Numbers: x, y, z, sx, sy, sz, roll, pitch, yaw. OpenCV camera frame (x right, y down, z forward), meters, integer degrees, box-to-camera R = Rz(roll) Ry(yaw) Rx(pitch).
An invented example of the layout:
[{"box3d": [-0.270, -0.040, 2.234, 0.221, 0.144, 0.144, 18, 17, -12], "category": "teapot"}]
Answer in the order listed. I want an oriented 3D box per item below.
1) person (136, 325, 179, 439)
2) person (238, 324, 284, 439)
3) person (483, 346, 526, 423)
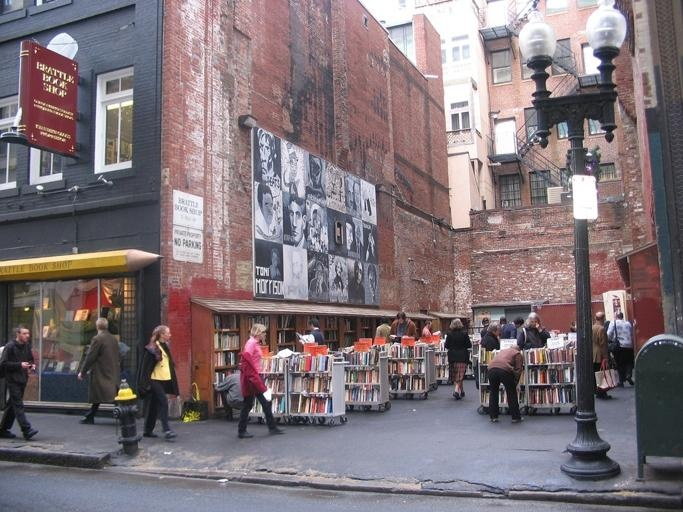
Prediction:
[{"box3d": [-4.240, 2.906, 16.085, 0.829, 2.585, 0.869, 0, -8, -14], "category": "person"}, {"box3d": [-2.009, 2.922, 16.507, 1.060, 2.541, 0.878, 1, -3, -15], "category": "person"}, {"box3d": [4.072, 3.102, 17.026, 1.019, 1.921, 0.780, 6, -8, -30], "category": "person"}]
